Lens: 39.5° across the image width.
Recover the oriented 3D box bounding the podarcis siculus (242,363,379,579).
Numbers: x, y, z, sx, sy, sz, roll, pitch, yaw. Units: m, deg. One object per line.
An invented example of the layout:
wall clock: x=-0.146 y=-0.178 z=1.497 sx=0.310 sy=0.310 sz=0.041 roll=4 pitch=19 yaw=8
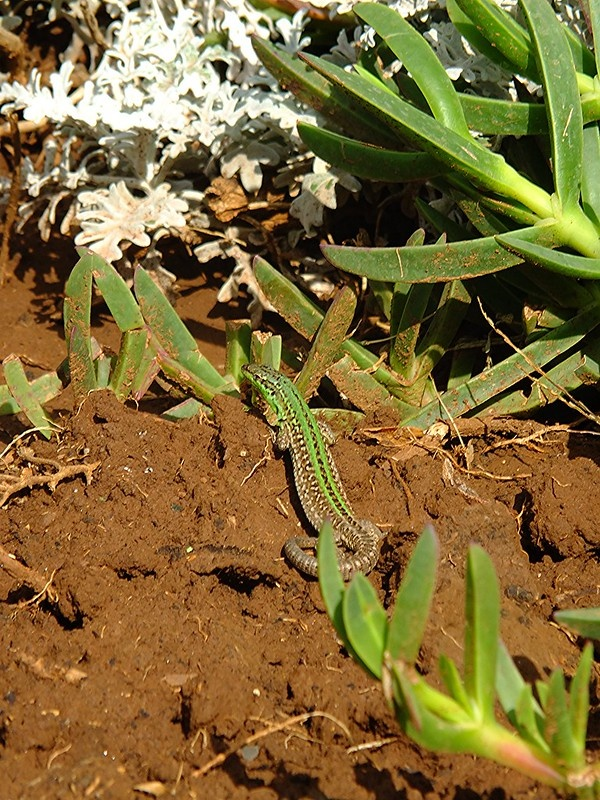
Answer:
podarcis siculus: x=0.010 y=0.232 z=2.848 sx=0.377 sy=0.139 sz=0.777 roll=-12 pitch=72 yaw=-30
